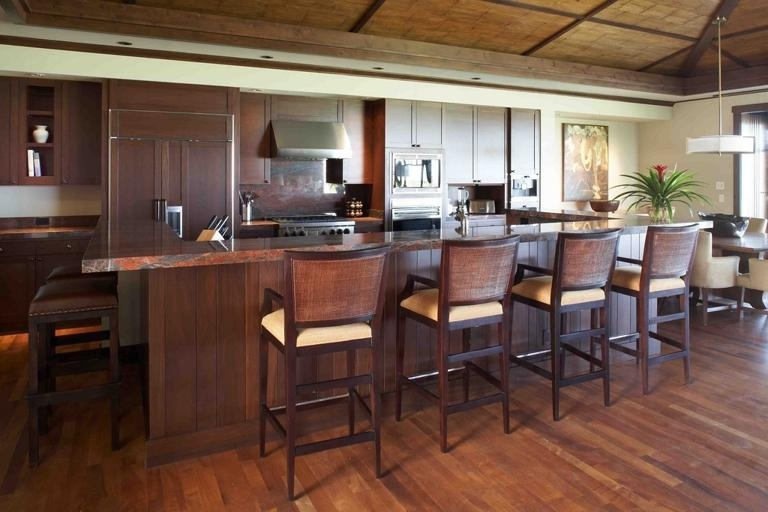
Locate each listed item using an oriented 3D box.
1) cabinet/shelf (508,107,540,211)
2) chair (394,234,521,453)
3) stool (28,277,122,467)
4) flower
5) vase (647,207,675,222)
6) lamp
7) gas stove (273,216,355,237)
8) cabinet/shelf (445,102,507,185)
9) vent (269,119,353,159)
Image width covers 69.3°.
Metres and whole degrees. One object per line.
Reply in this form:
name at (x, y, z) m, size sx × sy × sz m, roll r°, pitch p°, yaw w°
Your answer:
cabinet/shelf at (2.163, -1.504, 8.474) m, size 0.627 × 1.488 × 0.188 m, roll -11°, pitch 15°, yaw -35°
chair at (0.540, 0.590, 4.233) m, size 0.940 × 1.529 × 0.846 m, roll 0°, pitch 12°, yaw 11°
stool at (-2.364, 0.779, 4.267) m, size 0.695 × 1.168 × 0.997 m, roll -8°, pitch 12°, yaw -25°
flower at (2.852, -0.657, 5.753) m, size 0.960 × 0.442 × 0.806 m, roll -2°, pitch 7°, yaw -24°
vase at (2.831, -0.434, 5.664) m, size 0.281 × 0.133 × 0.293 m, roll 1°, pitch 4°, yaw 4°
lamp at (4.429, -2.226, 7.256) m, size 0.691 × 1.724 × 2.492 m, roll 4°, pitch 12°, yaw 29°
gas stove at (-0.902, -0.409, 7.250) m, size 1.030 × 0.196 × 0.638 m, roll -7°, pitch 11°, yaw -29°
cabinet/shelf at (1.296, -1.698, 8.076) m, size 1.436 × 1.096 × 0.504 m, roll -2°, pitch 8°, yaw -23°
vent at (-0.999, -1.582, 7.335) m, size 1.013 × 0.451 × 0.477 m, roll -5°, pitch 25°, yaw -27°
